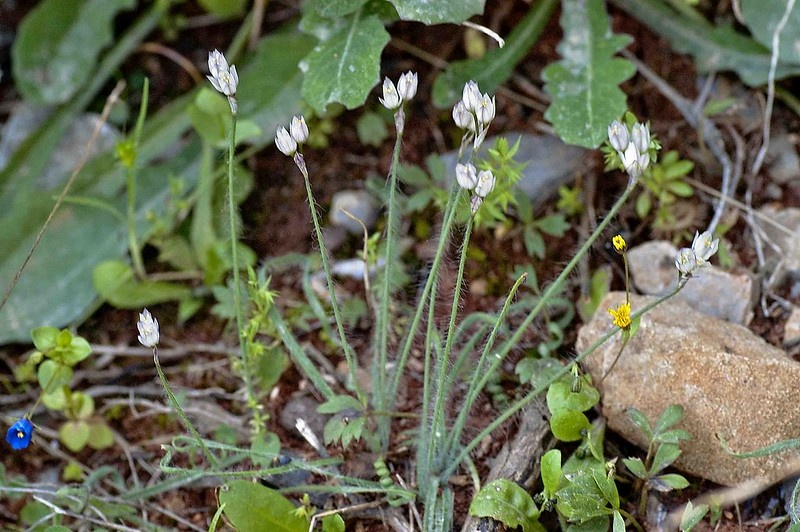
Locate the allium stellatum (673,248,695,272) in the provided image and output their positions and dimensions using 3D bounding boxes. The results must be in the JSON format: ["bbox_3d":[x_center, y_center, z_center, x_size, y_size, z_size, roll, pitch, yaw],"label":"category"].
[{"bbox_3d":[1.032,-0.014,2.781,0.055,0.034,0.086,4,92,9],"label":"allium stellatum"}]

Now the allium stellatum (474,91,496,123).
[{"bbox_3d":[0.314,-0.580,2.814,0.076,0.064,0.105,-10,56,-5],"label":"allium stellatum"}]

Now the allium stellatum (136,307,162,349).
[{"bbox_3d":[-0.917,0.243,2.818,0.060,0.165,0.080,-8,9,-18],"label":"allium stellatum"}]

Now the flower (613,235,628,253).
[{"bbox_3d":[0.883,-0.079,3.078,0.049,0.095,0.036,2,31,34],"label":"flower"}]

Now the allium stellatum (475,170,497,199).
[{"bbox_3d":[0.303,-0.290,2.720,0.062,0.101,0.076,10,49,20],"label":"allium stellatum"}]

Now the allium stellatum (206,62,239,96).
[{"bbox_3d":[-0.646,-0.687,2.836,0.092,0.101,0.109,-15,38,9],"label":"allium stellatum"}]

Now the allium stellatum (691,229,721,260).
[{"bbox_3d":[1.105,-0.061,2.777,0.099,0.107,0.130,3,92,24],"label":"allium stellatum"}]

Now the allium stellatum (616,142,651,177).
[{"bbox_3d":[0.845,-0.369,2.739,0.091,0.076,0.115,-9,49,1],"label":"allium stellatum"}]

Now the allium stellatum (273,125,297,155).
[{"bbox_3d":[-0.421,-0.452,2.864,0.059,0.117,0.052,-11,27,0],"label":"allium stellatum"}]
